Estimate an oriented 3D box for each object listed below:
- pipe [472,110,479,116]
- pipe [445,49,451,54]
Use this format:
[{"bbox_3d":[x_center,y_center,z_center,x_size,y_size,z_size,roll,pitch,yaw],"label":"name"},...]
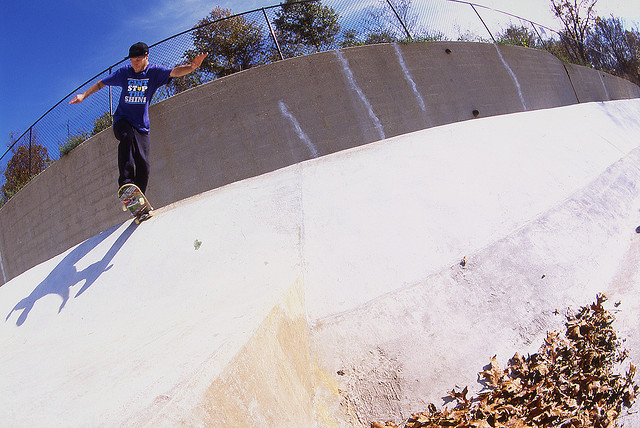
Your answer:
[{"bbox_3d":[3.678,-2.384,10.489,0.110,0.131,0.027,-2,2,-16],"label":"pipe"},{"bbox_3d":[3.051,-3.871,10.566,0.151,0.113,0.055,-31,28,-19],"label":"pipe"}]
